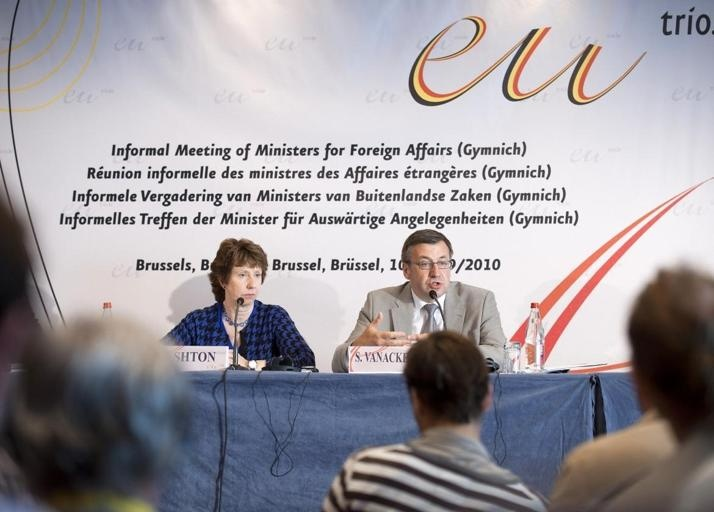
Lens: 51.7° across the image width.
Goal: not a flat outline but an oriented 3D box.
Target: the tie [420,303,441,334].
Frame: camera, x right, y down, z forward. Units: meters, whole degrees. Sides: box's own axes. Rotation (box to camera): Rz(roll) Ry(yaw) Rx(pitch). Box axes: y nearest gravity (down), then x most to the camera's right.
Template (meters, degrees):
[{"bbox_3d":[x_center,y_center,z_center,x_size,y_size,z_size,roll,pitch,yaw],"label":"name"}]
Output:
[{"bbox_3d":[0.356,0.321,3.641,0.127,0.082,0.253,-7,26,11],"label":"tie"}]
